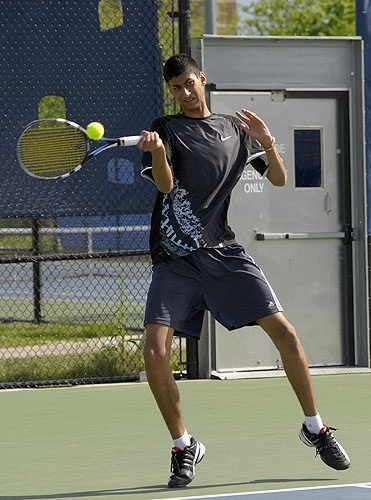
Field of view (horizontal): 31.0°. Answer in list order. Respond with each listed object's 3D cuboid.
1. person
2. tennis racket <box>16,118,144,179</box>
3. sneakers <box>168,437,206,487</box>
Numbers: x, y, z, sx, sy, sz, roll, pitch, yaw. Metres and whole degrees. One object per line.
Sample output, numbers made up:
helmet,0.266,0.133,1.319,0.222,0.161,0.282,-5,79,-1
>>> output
person,0.209,0.163,3.003,0.807,1.491,0.538,-2,1,-4
tennis racket,-0.640,-0.521,3.278,0.361,0.308,0.955,-2,1,-15
sneakers,-0.007,0.895,2.838,0.086,0.107,0.233,-20,26,35
